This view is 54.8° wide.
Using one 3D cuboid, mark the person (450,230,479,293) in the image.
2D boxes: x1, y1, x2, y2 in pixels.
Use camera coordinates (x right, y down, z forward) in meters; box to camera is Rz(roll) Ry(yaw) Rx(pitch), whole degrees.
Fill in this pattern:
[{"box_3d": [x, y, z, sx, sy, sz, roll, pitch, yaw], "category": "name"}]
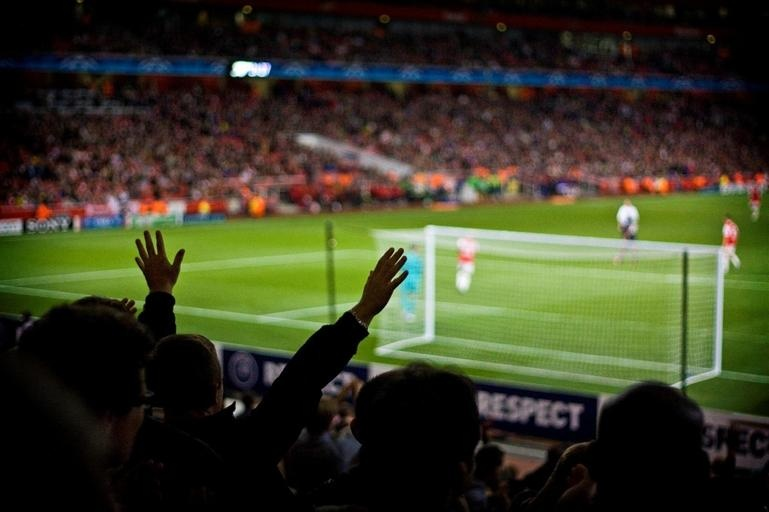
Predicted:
[{"box_3d": [1.572, 0.147, 14.444, 0.534, 1.108, 0.462, 4, 1, -36], "category": "person"}]
